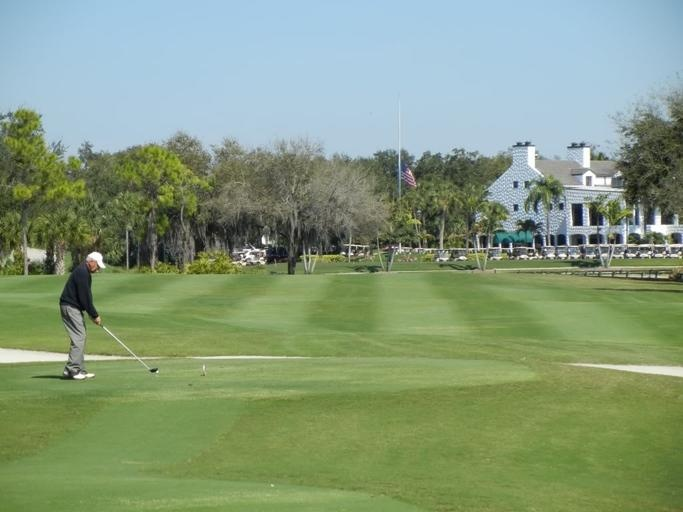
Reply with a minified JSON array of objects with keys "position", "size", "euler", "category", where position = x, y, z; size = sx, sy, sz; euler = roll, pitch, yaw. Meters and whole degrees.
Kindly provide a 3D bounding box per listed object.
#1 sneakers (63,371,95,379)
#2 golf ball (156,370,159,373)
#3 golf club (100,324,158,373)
[{"position":[-4.409,2.021,13.302],"size":[0.456,0.198,0.187],"euler":[4,1,0],"category":"sneakers"},{"position":[-3.258,2.059,13.987],"size":[0.038,0.040,0.040],"euler":[0,-7,0],"category":"golf ball"},{"position":[-4.635,2.044,17.233],"size":[0.193,1.065,0.094],"euler":[-39,-2,42],"category":"golf club"}]
